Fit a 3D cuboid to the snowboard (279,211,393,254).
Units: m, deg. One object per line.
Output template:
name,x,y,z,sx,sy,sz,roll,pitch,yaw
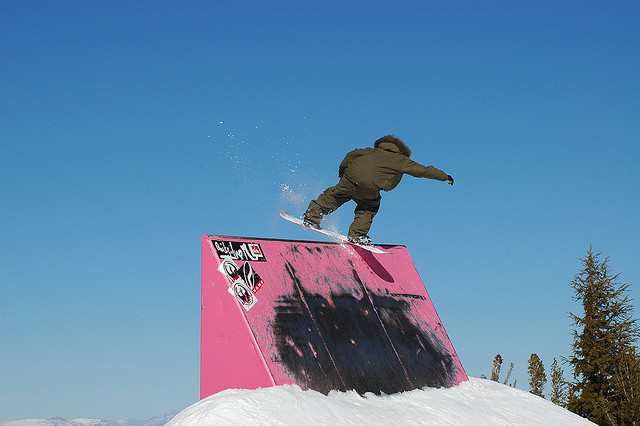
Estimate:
snowboard,0.277,0.570,19.036,2.115,0.161,0.289,25,5,-3
